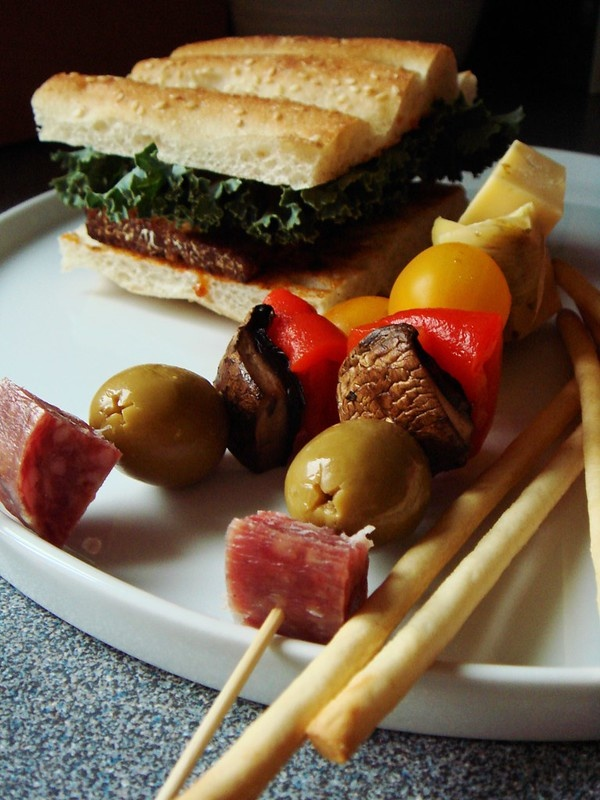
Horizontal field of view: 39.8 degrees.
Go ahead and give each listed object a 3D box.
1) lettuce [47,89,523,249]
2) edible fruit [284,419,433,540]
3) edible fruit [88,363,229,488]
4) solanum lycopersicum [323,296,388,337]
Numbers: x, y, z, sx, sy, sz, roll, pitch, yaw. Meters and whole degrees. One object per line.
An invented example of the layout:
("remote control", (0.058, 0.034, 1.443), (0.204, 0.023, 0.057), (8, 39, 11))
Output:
("lettuce", (-0.073, -0.389, 1.252), (0.485, 0.095, 0.454), (18, 23, 36))
("edible fruit", (0.049, 0.069, 0.767), (0.127, 0.088, 0.095), (-21, 0, -42))
("edible fruit", (-0.144, 0.030, 0.871), (0.148, 0.149, 0.143), (-7, 16, -1))
("solanum lycopersicum", (0.067, -0.105, 0.993), (0.077, 0.036, 0.053), (-15, 17, -4))
